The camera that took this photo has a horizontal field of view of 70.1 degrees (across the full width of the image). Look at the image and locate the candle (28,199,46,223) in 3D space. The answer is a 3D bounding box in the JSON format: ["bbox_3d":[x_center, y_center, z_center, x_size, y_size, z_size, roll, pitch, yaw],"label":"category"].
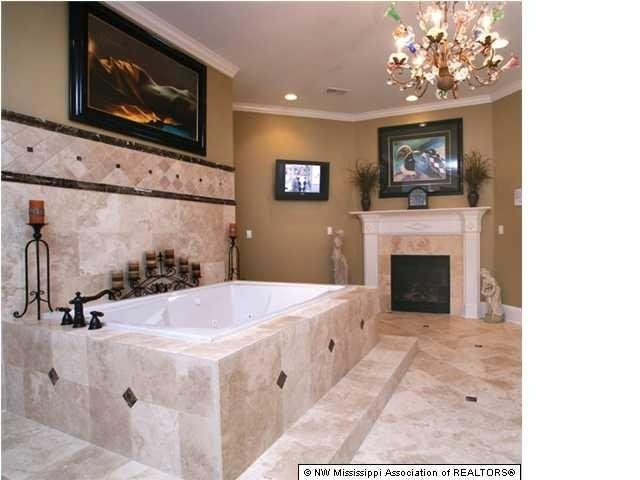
[{"bbox_3d":[-1.442,-0.141,2.351,0.045,0.121,0.070,3,4,40],"label":"candle"}]

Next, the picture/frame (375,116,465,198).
[{"bbox_3d":[1.143,-0.925,5.042,0.925,0.808,0.071,-2,-2,21],"label":"picture/frame"}]

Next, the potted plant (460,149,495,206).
[{"bbox_3d":[1.628,-0.642,4.772,0.277,0.594,0.168,2,4,20],"label":"potted plant"}]

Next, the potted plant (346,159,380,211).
[{"bbox_3d":[0.507,-0.636,5.275,0.338,0.595,0.159,1,4,12],"label":"potted plant"}]

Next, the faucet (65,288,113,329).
[{"bbox_3d":[-1.110,0.326,2.264,0.063,0.158,0.281,2,2,12],"label":"faucet"}]

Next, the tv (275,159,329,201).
[{"bbox_3d":[-0.219,-0.675,5.108,0.481,0.350,0.048,1,0,-24],"label":"tv"}]
